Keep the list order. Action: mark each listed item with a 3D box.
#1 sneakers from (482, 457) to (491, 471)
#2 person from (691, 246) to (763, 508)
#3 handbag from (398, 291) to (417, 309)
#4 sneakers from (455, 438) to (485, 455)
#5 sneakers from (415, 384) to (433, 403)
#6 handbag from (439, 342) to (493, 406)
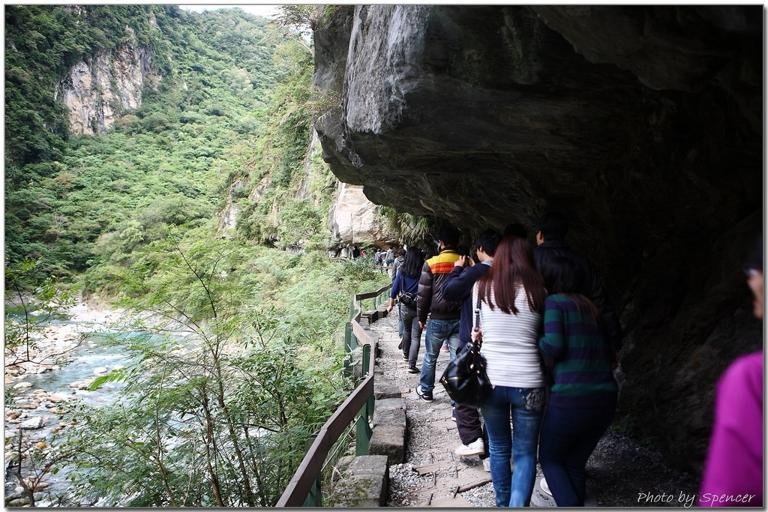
[{"bbox_3d":[1.073,2.211,4.920,0.058,0.117,0.157,-2,1,-3],"label":"sneakers"},{"bbox_3d":[2.134,0.798,2.830,0.339,1.573,0.623,-1,1,35],"label":"person"},{"bbox_3d":[0.356,0.657,6.900,0.262,0.104,0.189,32,-14,-38],"label":"handbag"},{"bbox_3d":[0.872,2.033,4.903,0.338,0.148,0.149,-13,-19,41],"label":"sneakers"},{"bbox_3d":[0.535,1.876,6.301,0.124,0.136,0.320,0,10,-15],"label":"sneakers"},{"bbox_3d":[0.693,1.033,3.970,0.384,0.540,0.216,-2,1,-12],"label":"handbag"}]
